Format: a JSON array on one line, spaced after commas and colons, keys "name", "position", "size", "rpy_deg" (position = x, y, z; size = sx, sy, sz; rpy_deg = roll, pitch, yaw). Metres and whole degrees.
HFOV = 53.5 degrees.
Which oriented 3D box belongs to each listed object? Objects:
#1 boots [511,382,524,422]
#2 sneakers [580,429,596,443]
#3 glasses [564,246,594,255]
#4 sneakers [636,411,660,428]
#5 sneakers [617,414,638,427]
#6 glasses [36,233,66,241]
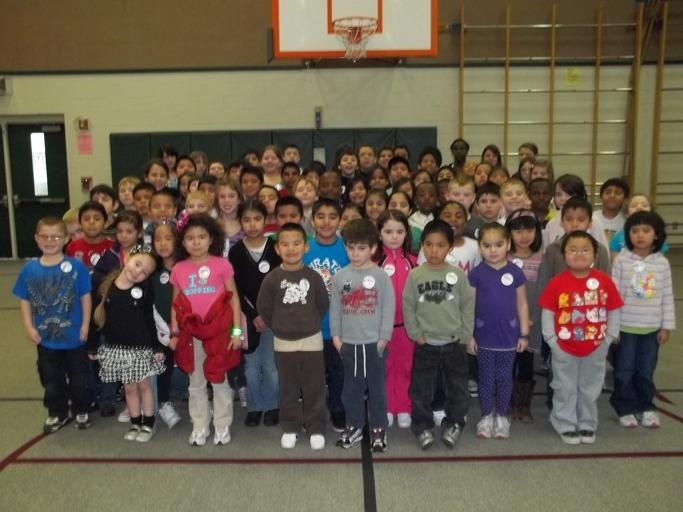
[{"name": "boots", "position": [1.359, 1.129, 5.252], "size": [0.086, 0.286, 0.070], "rpy_deg": [0, 6, 16]}, {"name": "sneakers", "position": [1.813, 1.338, 4.993], "size": [0.122, 0.083, 0.075], "rpy_deg": [-1, 6, 7]}, {"name": "glasses", "position": [1.744, -0.031, 4.989], "size": [0.184, 0.050, 0.057], "rpy_deg": [0, 6, 21]}, {"name": "sneakers", "position": [2.344, 1.249, 5.160], "size": [0.161, 0.109, 0.099], "rpy_deg": [0, 6, 19]}, {"name": "sneakers", "position": [2.184, 1.263, 5.163], "size": [0.135, 0.087, 0.069], "rpy_deg": [-1, 6, 9]}, {"name": "glasses", "position": [-2.224, -0.134, 5.214], "size": [0.205, 0.054, 0.119], "rpy_deg": [-4, 6, -24]}]
